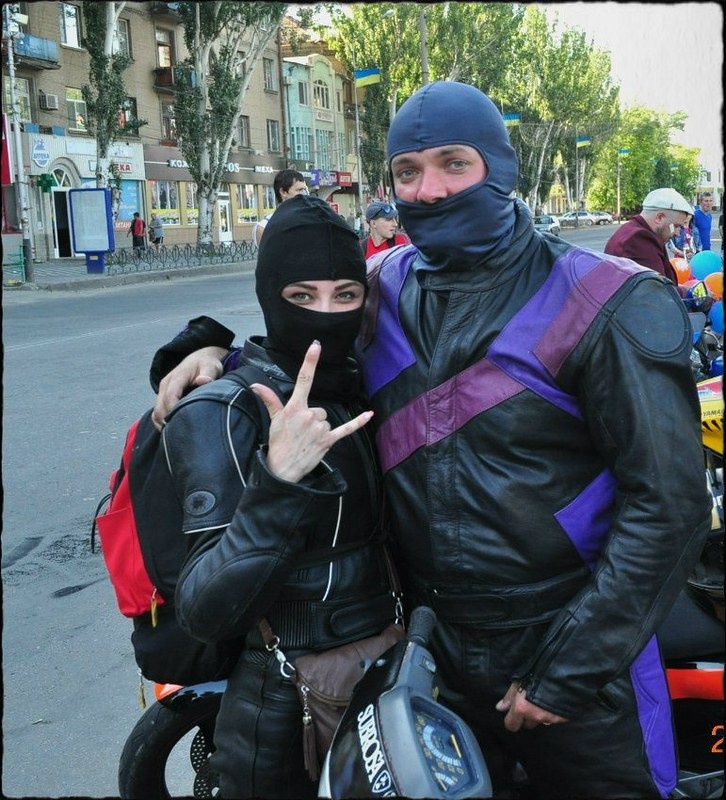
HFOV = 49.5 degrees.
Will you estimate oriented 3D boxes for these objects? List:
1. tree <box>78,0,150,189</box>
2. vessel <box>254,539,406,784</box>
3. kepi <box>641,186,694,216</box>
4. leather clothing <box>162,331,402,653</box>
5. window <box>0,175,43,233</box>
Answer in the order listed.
[{"bbox_3d":[-8.890,-11.032,27.949,1.735,6.915,8.875,-3,14,-15],"label":"tree"},{"bbox_3d":[-0.036,0.580,1.683,0.340,0.418,0.200,-15,-4,-35],"label":"vessel"},{"bbox_3d":[2.687,-1.749,6.931,0.479,0.234,0.318,-3,22,-13],"label":"kepi"},{"bbox_3d":[-0.112,0.205,1.779,0.404,0.623,0.686,-6,-2,28],"label":"leather clothing"},{"bbox_3d":[-10.224,-5.596,23.182,0.553,1.371,5.232,-5,14,-23],"label":"window"}]
